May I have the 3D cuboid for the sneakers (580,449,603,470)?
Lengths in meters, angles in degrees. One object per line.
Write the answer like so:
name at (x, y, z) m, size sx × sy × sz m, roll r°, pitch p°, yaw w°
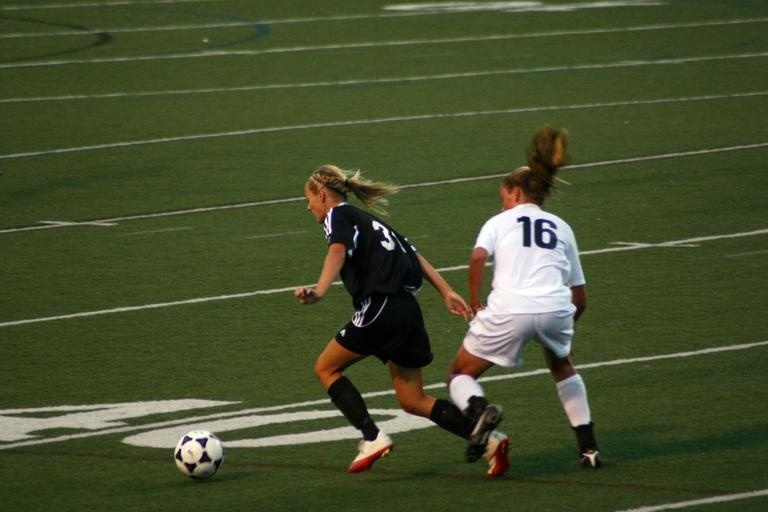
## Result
sneakers at (2.343, 2.283, 18.847) m, size 0.233 × 0.204 × 0.117 m, roll -1°, pitch 25°, yaw 15°

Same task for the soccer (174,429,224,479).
soccer at (-2.075, 2.234, 18.883) m, size 0.520 × 0.547 × 0.210 m, roll -7°, pitch -9°, yaw -7°

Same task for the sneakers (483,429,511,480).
sneakers at (1.231, 2.216, 18.695) m, size 0.285 × 0.504 × 0.270 m, roll 1°, pitch 19°, yaw -11°
